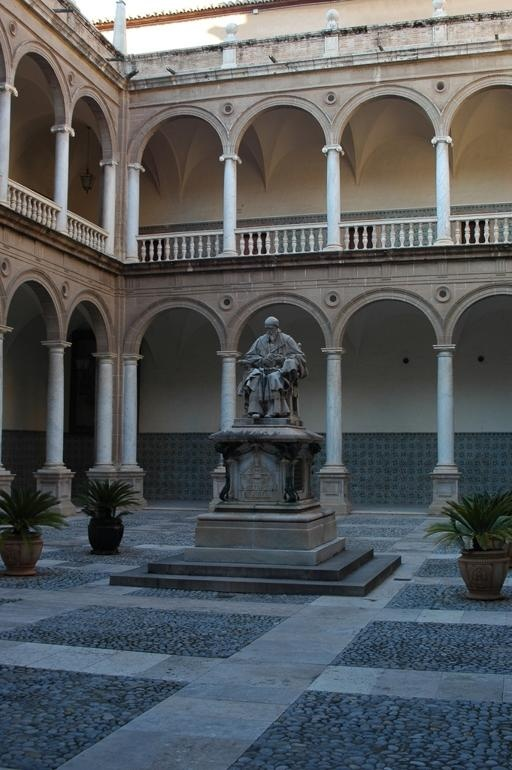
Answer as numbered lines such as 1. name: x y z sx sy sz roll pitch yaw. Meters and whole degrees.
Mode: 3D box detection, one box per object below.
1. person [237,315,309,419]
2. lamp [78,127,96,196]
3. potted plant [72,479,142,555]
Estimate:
1. person: 0.154 -0.185 9.133 0.718 1.153 0.776 -1 -5 3
2. lamp: -4.172 -5.456 21.219 0.324 1.508 1.821 0 -5 -11
3. potted plant: -1.749 1.559 10.058 0.580 0.853 0.626 0 -5 -12
